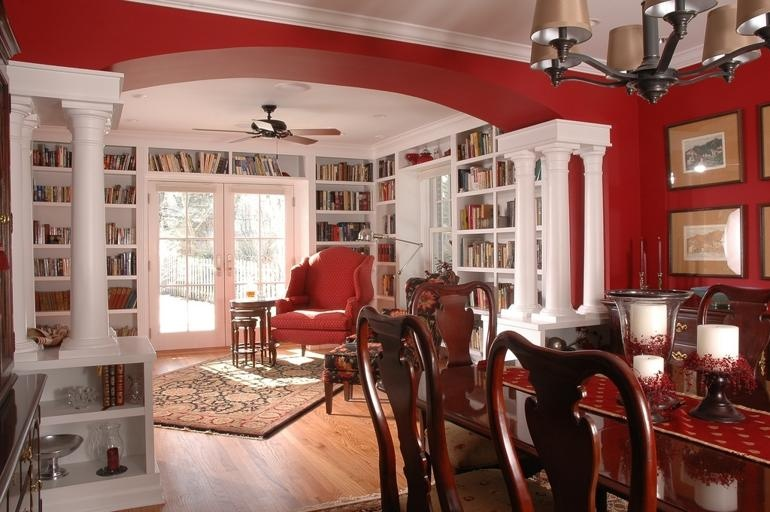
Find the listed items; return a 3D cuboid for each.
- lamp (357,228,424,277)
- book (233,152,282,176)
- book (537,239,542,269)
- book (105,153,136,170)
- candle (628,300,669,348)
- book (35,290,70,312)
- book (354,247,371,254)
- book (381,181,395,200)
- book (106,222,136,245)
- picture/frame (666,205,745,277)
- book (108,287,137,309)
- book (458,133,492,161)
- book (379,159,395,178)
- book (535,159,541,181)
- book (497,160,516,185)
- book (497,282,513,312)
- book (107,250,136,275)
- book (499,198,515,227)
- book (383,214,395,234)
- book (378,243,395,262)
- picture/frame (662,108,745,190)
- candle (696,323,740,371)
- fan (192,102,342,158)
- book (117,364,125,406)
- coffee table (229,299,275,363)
[{"bbox_3d":[0.084,-0.046,7.638,1.050,0.533,0.203,14,-14,-16],"label":"lamp"},{"bbox_3d":[-1.990,-1.325,7.631,0.522,0.157,0.428,-2,-13,4],"label":"book"},{"bbox_3d":[1.706,-0.021,5.572,0.079,0.266,0.311,2,-2,15],"label":"book"},{"bbox_3d":[-3.692,-1.302,6.975,0.305,0.256,0.117,1,-8,-29],"label":"book"},{"bbox_3d":[1.108,0.285,2.120,0.187,0.188,0.177,2,-2,-22],"label":"candle"},{"bbox_3d":[-4.313,0.580,6.501,0.399,0.340,0.206,1,-5,-22],"label":"book"},{"bbox_3d":[-0.394,-0.101,8.382,0.197,0.169,0.136,1,1,-3],"label":"book"},{"bbox_3d":[0.040,-1.021,7.960,0.281,0.337,0.366,0,1,-5],"label":"book"},{"bbox_3d":[-3.682,-0.303,6.960,0.464,0.397,0.251,1,-4,-31],"label":"book"},{"bbox_3d":[2.797,-0.122,4.417,0.756,0.615,0.078,-1,1,-9],"label":"picture/frame"},{"bbox_3d":[-3.664,0.577,7.023,0.309,0.352,0.395,2,1,-3],"label":"book"},{"bbox_3d":[1.120,-1.337,6.216,0.287,0.373,0.412,8,-9,-38],"label":"book"},{"bbox_3d":[0.013,-1.398,8.060,0.295,0.334,0.367,0,0,-7],"label":"book"},{"bbox_3d":[1.694,-0.953,5.590,0.057,0.240,0.194,1,5,19],"label":"book"},{"bbox_3d":[1.380,-0.956,5.791,0.090,0.307,0.242,-3,5,-21],"label":"book"},{"bbox_3d":[1.411,0.469,5.936,0.184,0.291,0.336,0,4,11],"label":"book"},{"bbox_3d":[-3.676,0.100,7.027,0.339,0.437,0.365,-3,-5,43],"label":"book"},{"bbox_3d":[1.418,-0.504,5.972,0.163,0.316,0.392,-1,4,-6],"label":"book"},{"bbox_3d":[0.064,-0.508,8.015,0.196,0.315,0.353,0,-2,-12],"label":"book"},{"bbox_3d":[0.025,-0.068,8.108,0.401,0.342,0.275,1,0,15],"label":"book"},{"bbox_3d":[2.820,-0.938,4.412,0.097,0.742,0.873,-2,1,-37],"label":"picture/frame"},{"bbox_3d":[1.379,0.377,2.130,0.187,0.186,0.180,3,-4,-34],"label":"candle"},{"bbox_3d":[-1.214,-1.449,5.783,1.030,0.237,1.026,2,-4,-10],"label":"fan"},{"bbox_3d":[-1.787,0.860,3.368,0.055,0.208,0.216,4,-2,-21],"label":"book"},{"bbox_3d":[-1.666,1.016,6.470,0.405,0.467,0.397,-18,-5,39],"label":"coffee table"}]
